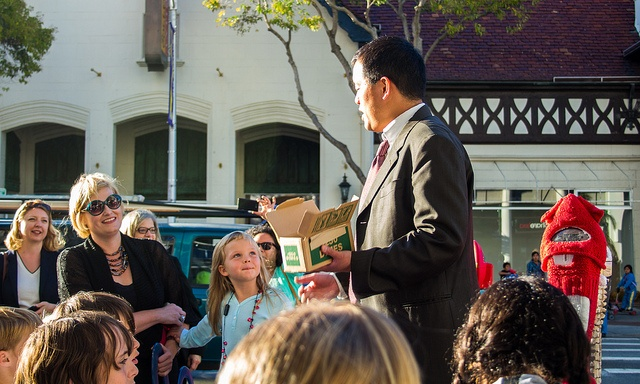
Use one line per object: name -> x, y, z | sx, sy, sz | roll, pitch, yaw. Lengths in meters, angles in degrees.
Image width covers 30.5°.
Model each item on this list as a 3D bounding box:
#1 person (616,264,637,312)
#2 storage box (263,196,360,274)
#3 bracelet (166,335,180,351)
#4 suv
person -> 10.998, 3.451, 42.139 | 0.658, 1.723, 0.987 | -4, -11, 13
storage box -> -0.350, 0.841, 29.704 | 1.834, 1.591, 2.056 | -16, -7, 40
bracelet -> -3.886, 3.852, 30.748 | 0.283, 0.368, 0.322 | 19, -41, 10
suv -> -5.277, 2.552, 34.141 | 6.996, 3.634, 4.001 | 2, -4, 3
